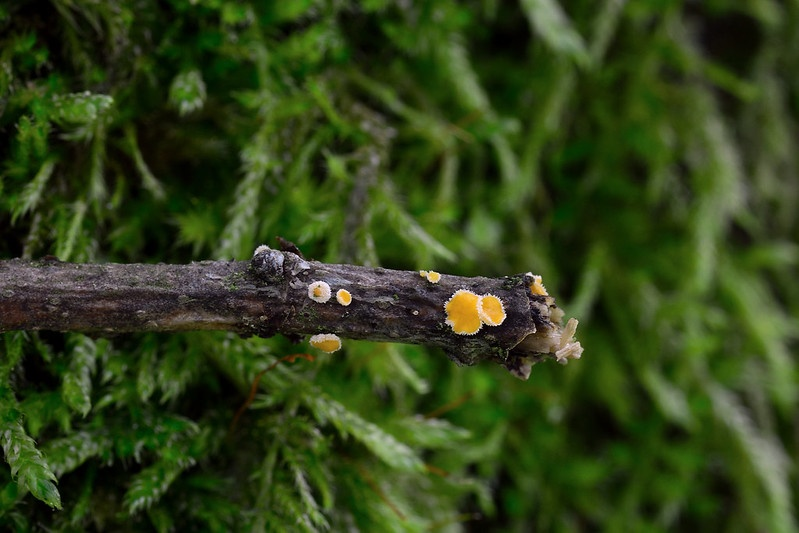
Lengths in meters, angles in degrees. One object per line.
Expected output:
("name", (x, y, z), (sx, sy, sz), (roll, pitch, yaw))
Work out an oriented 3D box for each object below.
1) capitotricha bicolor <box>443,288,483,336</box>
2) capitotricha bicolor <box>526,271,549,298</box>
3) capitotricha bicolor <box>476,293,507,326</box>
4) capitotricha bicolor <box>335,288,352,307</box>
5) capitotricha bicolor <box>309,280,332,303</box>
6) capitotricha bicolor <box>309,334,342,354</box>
("capitotricha bicolor", (0.190, 0.137, 2.572), (0.108, 0.089, 0.102), (1, 45, -3))
("capitotricha bicolor", (0.404, 0.054, 2.625), (0.020, 0.075, 0.073), (-8, 11, 41))
("capitotricha bicolor", (0.271, 0.130, 2.561), (0.083, 0.057, 0.068), (2, 45, -3))
("capitotricha bicolor", (-0.161, 0.090, 2.578), (0.046, 0.035, 0.033), (1, 45, -4))
("capitotricha bicolor", (-0.231, 0.075, 2.570), (0.060, 0.025, 0.061), (2, 89, -5))
("capitotricha bicolor", (-0.210, 0.235, 2.629), (0.065, 0.068, 0.022), (-14, 53, 28))
